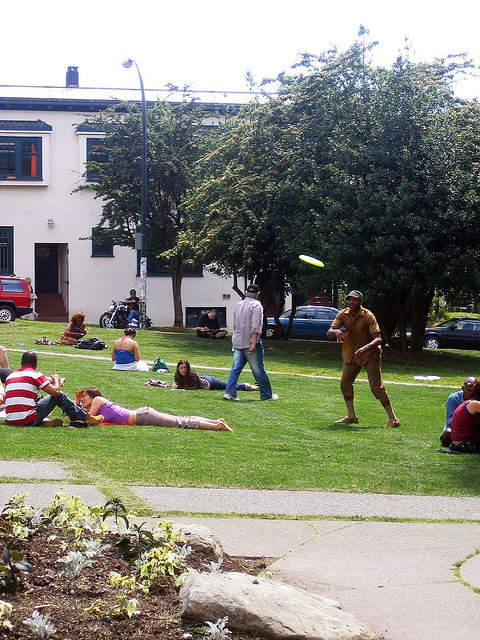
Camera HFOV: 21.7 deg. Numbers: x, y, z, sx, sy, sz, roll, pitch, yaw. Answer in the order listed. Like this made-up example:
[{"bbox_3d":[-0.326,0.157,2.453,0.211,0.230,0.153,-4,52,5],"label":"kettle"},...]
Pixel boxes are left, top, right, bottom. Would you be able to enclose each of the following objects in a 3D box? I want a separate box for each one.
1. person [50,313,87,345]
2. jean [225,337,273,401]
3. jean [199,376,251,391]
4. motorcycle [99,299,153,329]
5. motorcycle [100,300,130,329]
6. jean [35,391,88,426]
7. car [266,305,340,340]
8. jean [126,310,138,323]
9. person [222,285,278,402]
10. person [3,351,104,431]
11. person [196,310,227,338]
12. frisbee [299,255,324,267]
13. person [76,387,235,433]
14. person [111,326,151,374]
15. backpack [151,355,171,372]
[{"bbox_3d":[-4.044,0.229,29.054,0.585,0.852,0.636,18,-7,38],"label":"person"},{"bbox_3d":[0.099,0.662,16.359,0.587,0.864,0.972,3,4,4],"label":"jean"},{"bbox_3d":[-0.181,0.933,18.026,0.515,0.137,0.291,5,27,-10],"label":"jean"},{"bbox_3d":[-3.337,-0.077,33.926,1.701,0.935,0.808,9,-2,-36],"label":"motorcycle"},{"bbox_3d":[-3.342,-0.098,34.181,0.495,0.579,0.939,22,13,31],"label":"motorcycle"},{"bbox_3d":[-1.975,0.958,13.506,0.614,0.303,0.239,-10,-6,-6],"label":"jean"},{"bbox_3d":[1.809,0.083,36.768,2.270,0.869,0.914,2,-1,21],"label":"car"},{"bbox_3d":[-2.958,-0.098,33.702,0.226,0.300,0.105,13,16,-44],"label":"jean"},{"bbox_3d":[0.131,0.317,16.583,0.680,1.591,1.579,3,4,0],"label":"person"},{"bbox_3d":[-2.064,0.768,13.509,0.954,0.826,0.667,0,5,-41],"label":"person"},{"bbox_3d":[-0.837,0.077,32.241,0.743,0.905,0.731,3,-2,-32],"label":"person"},{"bbox_3d":[1.466,-1.245,25.340,0.380,0.075,0.376,17,-4,-13],"label":"frisbee"},{"bbox_3d":[-0.984,1.010,13.973,1.796,0.456,0.447,2,-3,5],"label":"person"},{"bbox_3d":[-1.839,0.495,20.615,0.615,0.709,0.820,3,1,18],"label":"person"},{"bbox_3d":[-1.360,0.747,20.884,0.207,0.223,0.303,0,11,-12],"label":"backpack"}]
